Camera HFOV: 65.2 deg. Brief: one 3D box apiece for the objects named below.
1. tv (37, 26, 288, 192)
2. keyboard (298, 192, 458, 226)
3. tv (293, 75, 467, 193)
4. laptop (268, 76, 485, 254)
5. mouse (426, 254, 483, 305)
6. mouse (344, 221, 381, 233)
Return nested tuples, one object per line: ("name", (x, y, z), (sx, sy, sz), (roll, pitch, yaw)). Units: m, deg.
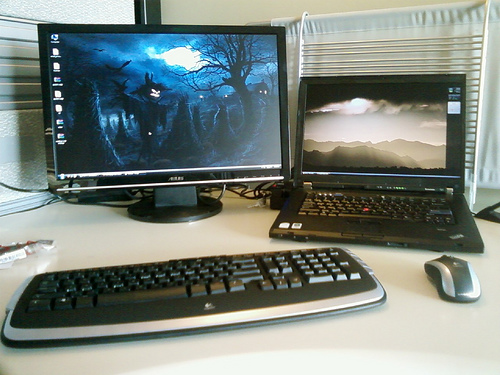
("tv", (-0.234, -0.242, 1.104), (0.793, 0.386, 0.016), (6, 19, 22))
("keyboard", (0.350, 0.050, 1.017), (0.266, 0.014, 0.091), (3, 26, 17))
("tv", (0.384, -0.157, 1.131), (0.618, 0.310, 0.011), (-3, 9, -22))
("laptop", (0.326, -0.094, 1.031), (0.576, 0.270, 0.441), (10, 29, 27))
("mouse", (0.397, 0.163, 0.773), (0.102, 0.041, 0.139), (-1, 19, 8))
("mouse", (0.271, 0.094, 0.937), (0.081, 0.033, 0.047), (-1, -14, 14))
